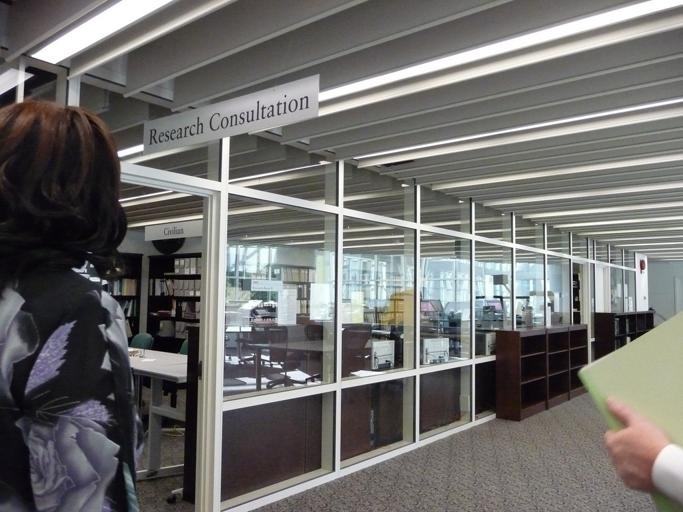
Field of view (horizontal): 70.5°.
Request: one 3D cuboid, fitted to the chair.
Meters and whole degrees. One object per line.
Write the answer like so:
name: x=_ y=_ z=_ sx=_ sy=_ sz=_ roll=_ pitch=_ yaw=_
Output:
chair: x=-0.504 y=0.922 z=4.575 sx=0.278 sy=0.626 sz=1.239 roll=-3 pitch=-3 yaw=40
